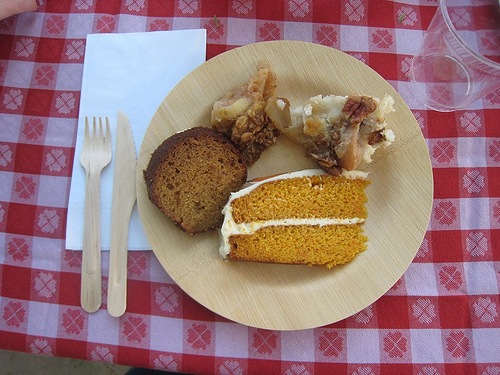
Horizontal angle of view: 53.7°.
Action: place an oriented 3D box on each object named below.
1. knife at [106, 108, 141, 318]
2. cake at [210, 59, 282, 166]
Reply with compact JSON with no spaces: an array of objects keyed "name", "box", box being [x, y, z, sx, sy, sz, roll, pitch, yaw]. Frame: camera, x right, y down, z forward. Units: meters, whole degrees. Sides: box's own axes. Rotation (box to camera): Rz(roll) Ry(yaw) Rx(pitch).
[{"name":"knife","box":[-0.565,0.122,2.274,0.162,0.014,0.982,2,88,13]},{"name":"cake","box":[0.005,-0.332,2.170,0.249,0.104,0.462,4,97,-10]}]
